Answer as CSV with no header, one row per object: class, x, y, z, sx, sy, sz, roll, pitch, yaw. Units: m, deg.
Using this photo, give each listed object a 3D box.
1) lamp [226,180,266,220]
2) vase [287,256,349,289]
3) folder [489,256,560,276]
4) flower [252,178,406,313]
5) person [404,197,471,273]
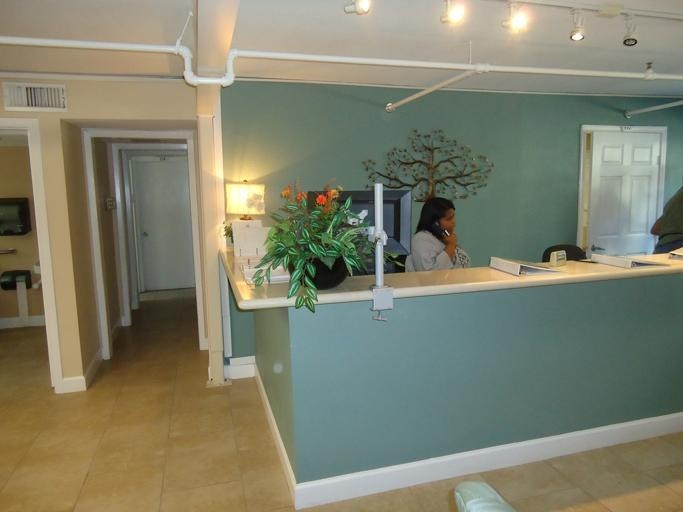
lamp,-0.914,-0.510,4.796,0.381,0.397,0.390,2,-3,-32
vase,-0.067,0.109,2.994,0.227,0.152,0.232,-1,1,-13
folder,1.314,0.062,3.551,0.458,0.092,0.296,-4,15,-10
flower,-0.105,-0.069,3.152,0.798,0.623,0.711,0,2,-17
person,0.856,-0.149,4.456,0.516,0.801,0.822,1,7,13
